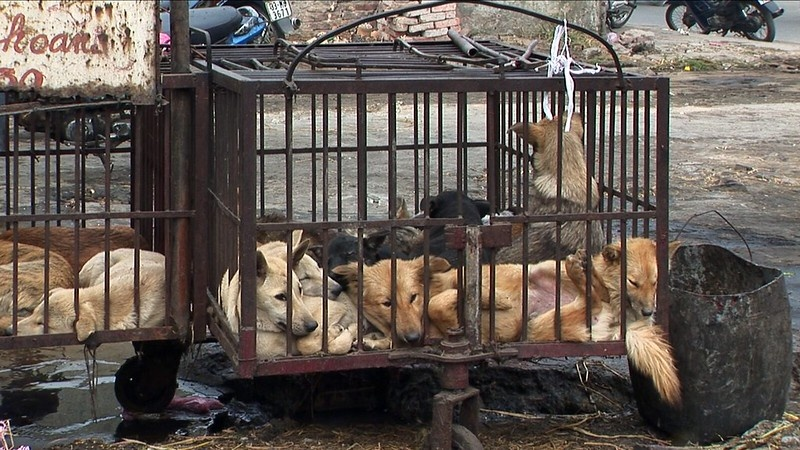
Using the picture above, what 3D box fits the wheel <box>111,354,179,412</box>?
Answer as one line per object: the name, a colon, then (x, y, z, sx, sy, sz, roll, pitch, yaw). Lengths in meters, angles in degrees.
wheel: (-2.310, 1.456, 8.377, 0.552, 0.523, 0.203, 4, 4, -12)
